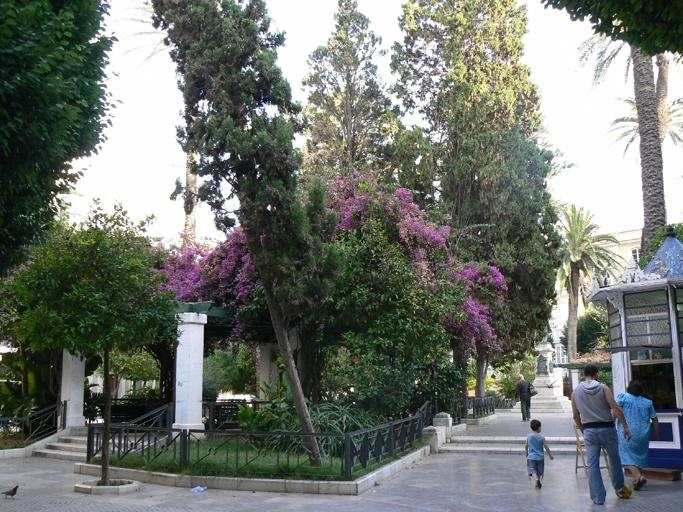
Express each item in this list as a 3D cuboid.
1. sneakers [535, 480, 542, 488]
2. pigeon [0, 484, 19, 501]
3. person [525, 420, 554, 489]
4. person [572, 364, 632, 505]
[{"bbox_3d":[3.853,4.456,12.969,0.116,0.143,0.303,-6,-14,15],"label":"sneakers"},{"bbox_3d":[-6.291,4.481,12.600,0.249,0.211,0.680,4,-16,-29],"label":"pigeon"},{"bbox_3d":[3.968,3.962,13.360,0.482,1.273,0.954,-6,-13,15],"label":"person"},{"bbox_3d":[4.582,3.108,11.664,0.879,2.335,0.984,-8,-13,22],"label":"person"}]
